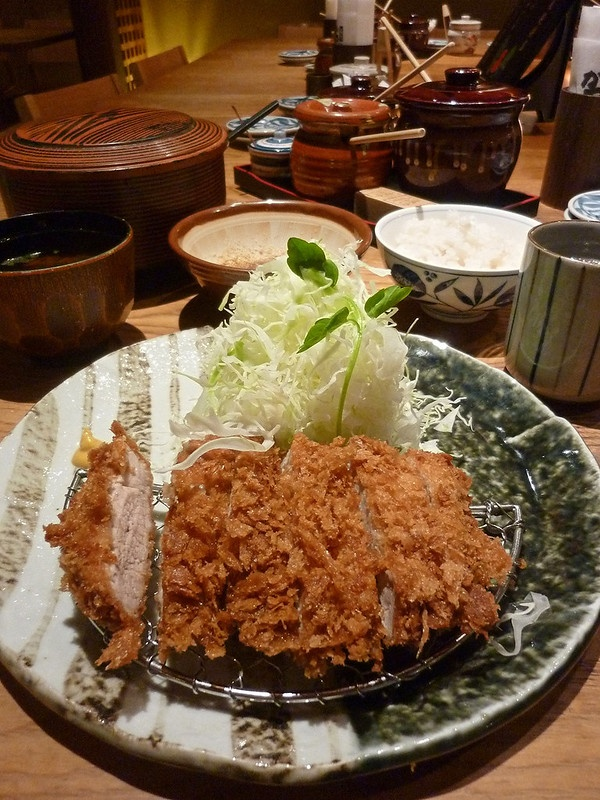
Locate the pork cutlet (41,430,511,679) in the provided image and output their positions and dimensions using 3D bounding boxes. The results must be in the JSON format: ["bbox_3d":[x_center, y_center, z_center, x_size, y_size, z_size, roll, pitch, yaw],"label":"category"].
[{"bbox_3d":[-0.036,0.283,1.201,0.679,0.197,0.414,4,40,-1],"label":"pork cutlet"}]

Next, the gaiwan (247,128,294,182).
[{"bbox_3d":[-0.133,-1.145,3.165,0.233,0.144,0.210,-2,37,-3],"label":"gaiwan"}]

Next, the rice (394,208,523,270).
[{"bbox_3d":[0.499,-0.508,2.095,0.337,0.116,0.312,4,30,4],"label":"rice"}]

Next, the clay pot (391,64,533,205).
[{"bbox_3d":[0.635,-1.059,2.762,0.540,0.544,0.488,-7,34,-5],"label":"clay pot"}]

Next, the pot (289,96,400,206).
[{"bbox_3d":[0.170,-1.071,2.860,0.461,0.359,0.425,1,38,-1],"label":"pot"}]

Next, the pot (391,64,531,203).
[{"bbox_3d":[0.617,-1.083,2.790,0.578,0.598,0.532,-4,38,3],"label":"pot"}]

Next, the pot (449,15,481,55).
[{"bbox_3d":[1.452,-3.200,5.921,0.255,0.269,0.545,8,35,9],"label":"pot"}]

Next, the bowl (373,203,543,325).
[{"bbox_3d":[0.470,-0.452,2.057,0.472,0.189,0.431,-1,30,1],"label":"bowl"}]

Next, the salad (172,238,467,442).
[{"bbox_3d":[-0.006,-0.094,1.639,0.588,0.293,0.415,15,9,-29],"label":"salad"}]

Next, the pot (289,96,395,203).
[{"bbox_3d":[0.155,-1.052,2.888,0.463,0.351,0.419,-3,33,-5],"label":"pot"}]

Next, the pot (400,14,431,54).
[{"bbox_3d":[0.989,-3.127,5.816,0.260,0.244,0.377,4,35,5],"label":"pot"}]
